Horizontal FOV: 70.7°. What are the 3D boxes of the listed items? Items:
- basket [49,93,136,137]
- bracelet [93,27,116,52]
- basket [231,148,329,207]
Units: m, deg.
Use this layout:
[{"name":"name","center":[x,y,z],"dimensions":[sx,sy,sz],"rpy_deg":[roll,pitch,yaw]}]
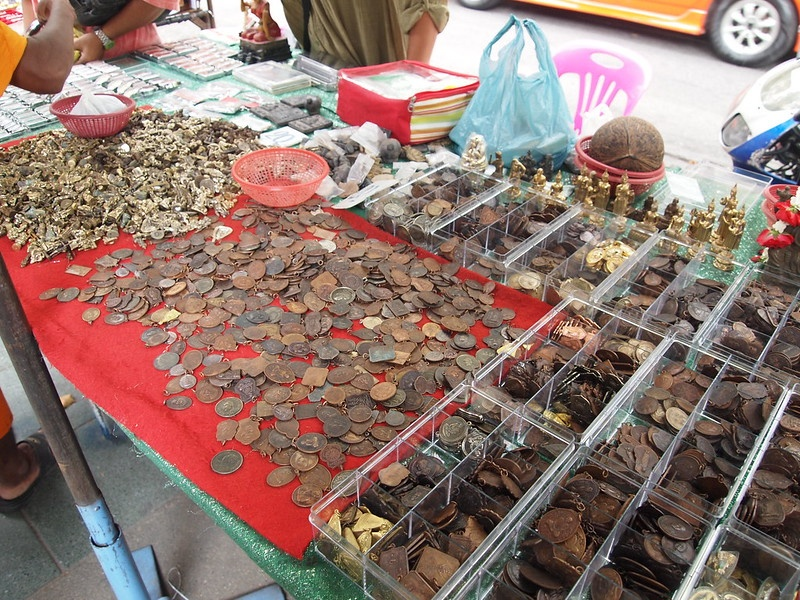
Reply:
[{"name":"basket","center":[-1.941,-1.174,3.775],"dimensions":[0.409,0.142,0.378],"rpy_deg":[-14,41,-26]},{"name":"bracelet","center":[-2.461,-2.282,4.946],"dimensions":[0.159,0.177,0.110],"rpy_deg":[-9,44,59]},{"name":"basket","center":[-0.652,-0.770,3.467],"dimensions":[0.479,0.159,0.457],"rpy_deg":[24,46,18]}]
